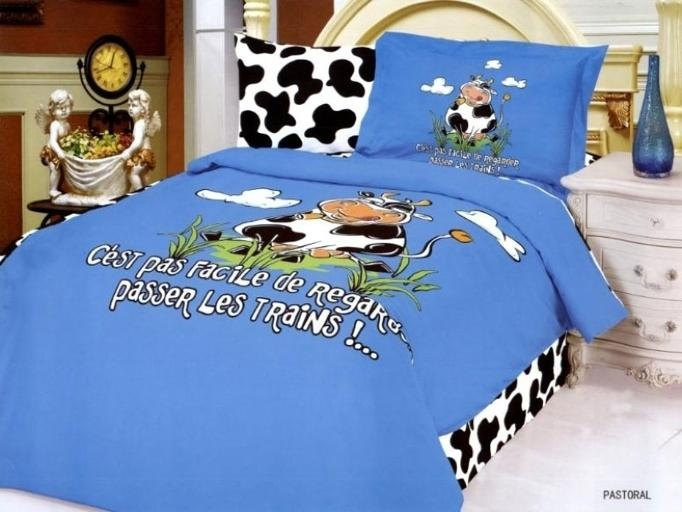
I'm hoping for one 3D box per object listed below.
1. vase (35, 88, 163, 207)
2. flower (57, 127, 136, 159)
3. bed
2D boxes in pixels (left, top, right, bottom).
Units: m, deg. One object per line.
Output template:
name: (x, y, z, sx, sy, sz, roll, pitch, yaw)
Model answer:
vase: (-1.294, -0.566, 3.641, 0.689, 0.531, 0.347, 4, 25, -1)
flower: (-1.301, -0.590, 3.653, 0.270, 0.096, 0.217, 0, 26, -3)
bed: (-0.044, -0.063, 2.033, 1.240, 0.283, 1.231, 12, 37, 22)
